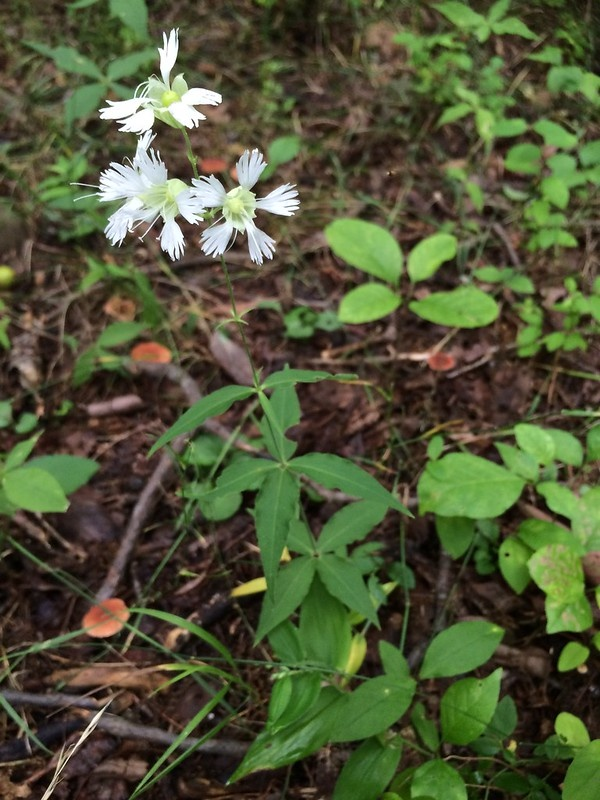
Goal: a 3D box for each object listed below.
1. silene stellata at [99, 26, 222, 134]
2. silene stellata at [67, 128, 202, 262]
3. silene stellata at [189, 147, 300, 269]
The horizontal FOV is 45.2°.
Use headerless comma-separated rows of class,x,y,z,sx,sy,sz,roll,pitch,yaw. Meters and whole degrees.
silene stellata,-0.363,-0.825,1.894,0.214,0.232,0.256,35,45,28
silene stellata,-0.411,-0.550,1.944,0.205,0.307,0.292,-22,49,-32
silene stellata,-0.166,-0.554,1.976,0.235,0.073,0.236,-9,-6,38
